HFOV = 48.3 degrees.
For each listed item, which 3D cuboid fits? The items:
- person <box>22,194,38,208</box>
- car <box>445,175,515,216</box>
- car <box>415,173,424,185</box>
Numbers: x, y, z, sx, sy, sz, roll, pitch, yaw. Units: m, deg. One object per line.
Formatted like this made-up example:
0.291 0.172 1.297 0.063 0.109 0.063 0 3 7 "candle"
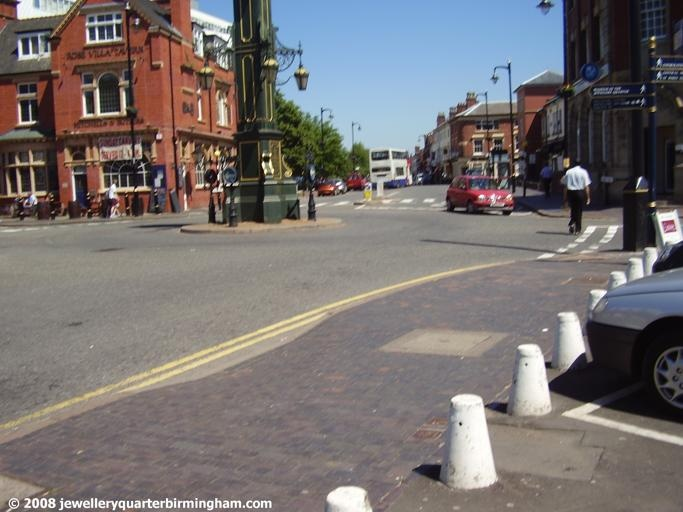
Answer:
-19.068 -3.327 46.208 0.459 0.919 0.888 5 3 -25 "person"
6.128 -2.629 33.619 1.435 1.749 4.600 -4 11 -11 "car"
12.768 -12.616 123.629 0.967 1.727 4.521 -1 11 3 "car"
